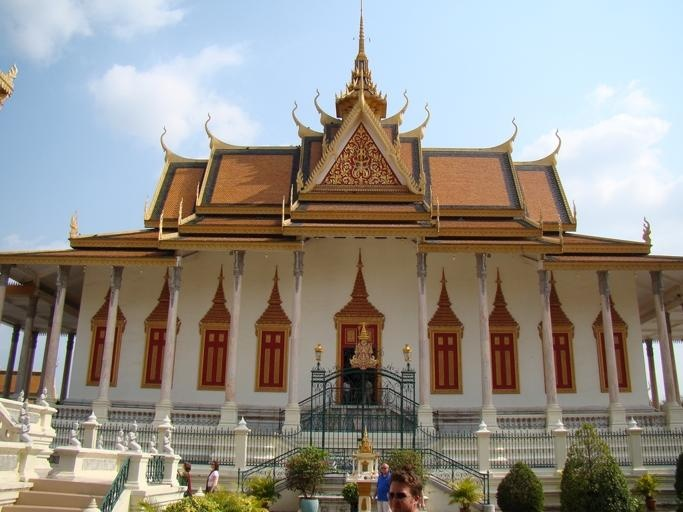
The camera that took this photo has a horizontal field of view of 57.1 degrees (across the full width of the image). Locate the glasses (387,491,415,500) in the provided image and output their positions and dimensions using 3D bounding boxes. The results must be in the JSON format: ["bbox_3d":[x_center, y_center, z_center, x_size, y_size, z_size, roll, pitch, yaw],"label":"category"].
[{"bbox_3d":[0.561,2.253,5.906,0.208,0.076,0.054,-4,-23,9],"label":"glasses"}]
